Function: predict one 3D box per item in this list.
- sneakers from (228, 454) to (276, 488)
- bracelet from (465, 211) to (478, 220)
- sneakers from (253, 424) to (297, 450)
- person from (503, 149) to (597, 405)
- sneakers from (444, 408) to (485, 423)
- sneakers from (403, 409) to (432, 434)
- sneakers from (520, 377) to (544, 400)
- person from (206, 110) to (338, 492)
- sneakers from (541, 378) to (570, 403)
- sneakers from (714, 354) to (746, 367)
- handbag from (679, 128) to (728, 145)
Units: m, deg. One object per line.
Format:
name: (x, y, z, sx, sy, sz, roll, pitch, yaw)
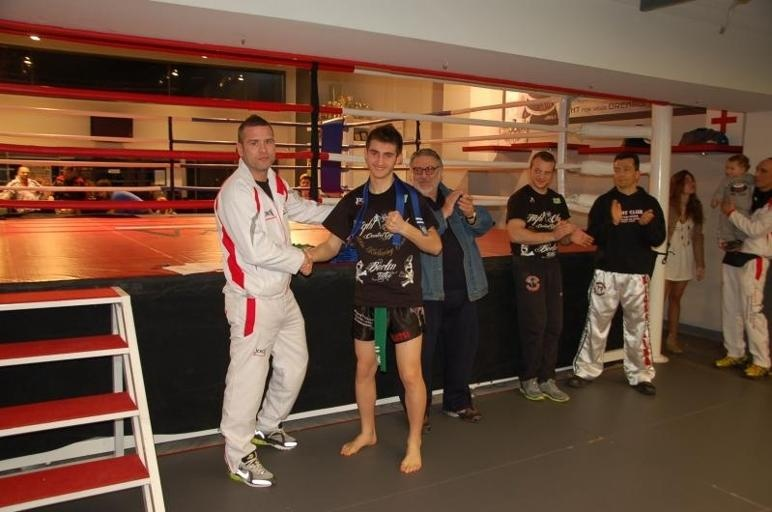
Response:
sneakers: (-0.861, 1.365, 3.399, 0.349, 0.161, 0.148, 7, 9, 30)
bracelet: (0.625, -0.293, 3.821, 0.053, 0.037, 0.066, -6, 0, -8)
sneakers: (-0.770, 1.290, 3.773, 0.342, 0.156, 0.129, 4, 0, 1)
person: (1.331, 0.182, 4.385, 0.631, 2.066, 0.446, 0, 10, 17)
sneakers: (0.601, 1.231, 4.105, 0.205, 0.081, 0.104, -3, -2, 27)
sneakers: (0.224, 1.266, 4.023, 0.104, 0.193, 0.296, 0, -14, -3)
sneakers: (1.231, 1.129, 4.434, 0.105, 0.112, 0.251, -3, -6, -5)
person: (-0.760, 0.261, 3.478, 0.578, 2.325, 0.787, 2, 11, 26)
sneakers: (1.418, 1.143, 4.509, 0.120, 0.124, 0.321, -4, 3, -27)
sneakers: (3.466, 1.050, 5.307, 0.375, 0.147, 0.122, -1, -7, -4)
handbag: (3.528, -1.323, 5.864, 0.469, 0.202, 0.451, 3, 10, 31)
